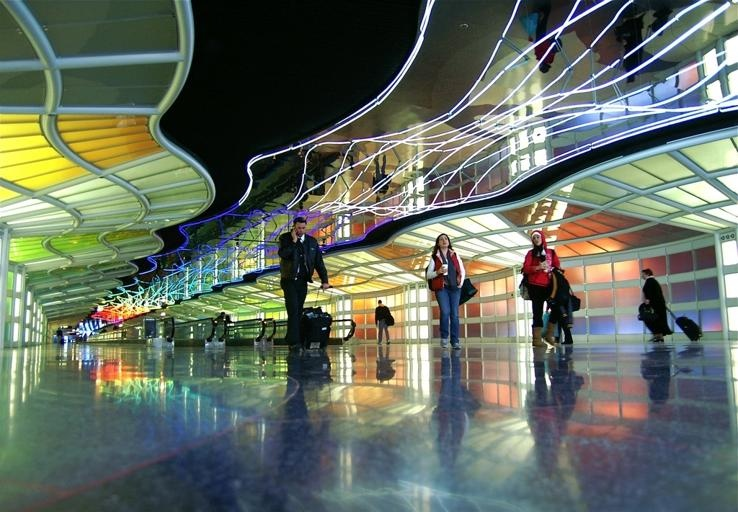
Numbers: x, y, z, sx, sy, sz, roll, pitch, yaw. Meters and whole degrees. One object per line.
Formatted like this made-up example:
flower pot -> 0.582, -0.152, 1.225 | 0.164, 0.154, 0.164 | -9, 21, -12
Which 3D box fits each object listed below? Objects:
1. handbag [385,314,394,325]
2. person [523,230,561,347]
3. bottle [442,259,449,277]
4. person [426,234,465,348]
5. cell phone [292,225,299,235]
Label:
handbag -> 0.997, 2.944, 24.180 | 0.497, 0.418, 0.481 | -1, -3, -8
person -> 3.187, 0.623, 9.784 | 0.646, 2.107, 0.765 | -6, -10, 22
bottle -> 1.432, 0.241, 9.996 | 0.115, 0.225, 0.328 | -4, -9, 11
person -> 1.492, 0.643, 10.212 | 0.741, 2.275, 0.926 | -4, -9, 9
cell phone -> -1.261, -0.440, 9.024 | 0.109, 0.137, 0.051 | -10, 11, 38
